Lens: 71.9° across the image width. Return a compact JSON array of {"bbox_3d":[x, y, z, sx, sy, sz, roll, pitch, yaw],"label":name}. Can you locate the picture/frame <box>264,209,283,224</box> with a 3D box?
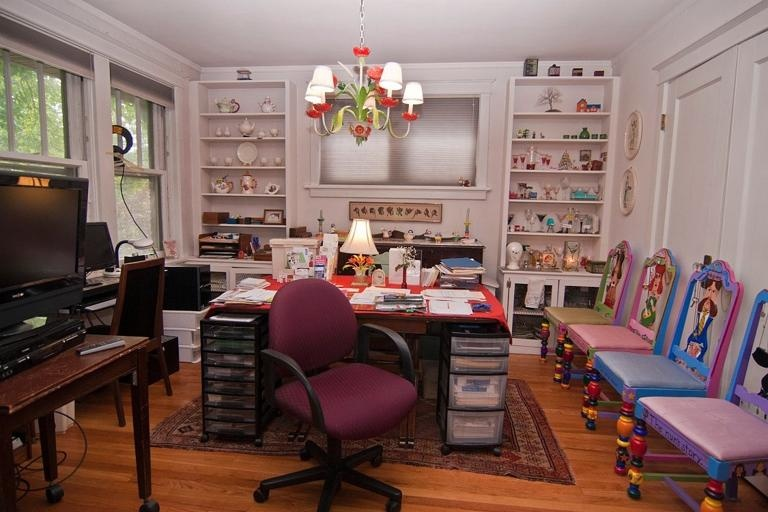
[{"bbox_3d":[-1.400,-0.493,6.704,0.204,0.164,0.021,1,-21,1],"label":"picture/frame"}]

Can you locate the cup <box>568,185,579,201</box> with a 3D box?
[{"bbox_3d":[2.227,-0.742,6.217,0.098,0.177,0.254,4,5,18],"label":"cup"}]

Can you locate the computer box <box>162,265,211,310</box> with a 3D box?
[{"bbox_3d":[-2.059,0.313,5.625,0.488,0.456,0.461,0,3,-7],"label":"computer box"}]

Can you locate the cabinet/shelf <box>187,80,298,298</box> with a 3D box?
[{"bbox_3d":[-1.909,-1.055,6.698,0.908,2.236,0.270,0,-26,-23],"label":"cabinet/shelf"}]

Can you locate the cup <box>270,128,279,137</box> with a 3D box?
[{"bbox_3d":[-1.357,-1.526,6.536,0.110,0.084,0.114,-1,5,0],"label":"cup"}]

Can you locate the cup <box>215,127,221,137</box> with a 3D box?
[{"bbox_3d":[-2.092,-1.564,6.676,0.075,0.134,0.238,0,5,-16],"label":"cup"}]

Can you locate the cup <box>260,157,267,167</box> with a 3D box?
[{"bbox_3d":[-1.505,-1.186,6.625,0.097,0.068,0.086,1,0,-23],"label":"cup"}]

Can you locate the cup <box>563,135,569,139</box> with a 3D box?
[{"bbox_3d":[2.147,-1.412,6.245,0.067,0.046,0.066,1,-2,0],"label":"cup"}]

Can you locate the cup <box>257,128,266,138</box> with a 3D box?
[{"bbox_3d":[-1.513,-1.516,6.569,0.071,0.068,0.190,0,4,-14],"label":"cup"}]

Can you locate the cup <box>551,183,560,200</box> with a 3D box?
[{"bbox_3d":[2.059,-0.770,6.345,0.153,0.197,0.163,-3,13,1],"label":"cup"}]

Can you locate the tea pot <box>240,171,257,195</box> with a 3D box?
[{"bbox_3d":[-1.720,-0.926,6.691,0.208,0.275,0.291,0,5,-13],"label":"tea pot"}]

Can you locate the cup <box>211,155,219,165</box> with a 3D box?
[{"bbox_3d":[-2.143,-1.234,6.736,0.092,0.082,0.104,17,18,41],"label":"cup"}]

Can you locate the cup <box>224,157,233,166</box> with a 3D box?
[{"bbox_3d":[-1.953,-1.197,6.703,0.103,0.111,0.104,5,24,-2],"label":"cup"}]

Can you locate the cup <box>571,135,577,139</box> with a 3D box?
[{"bbox_3d":[2.245,-1.401,6.223,0.061,0.036,0.060,1,-1,0],"label":"cup"}]

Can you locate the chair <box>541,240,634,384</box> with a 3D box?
[{"bbox_3d":[2.027,0.531,5.421,0.867,1.406,0.817,0,8,-25],"label":"chair"}]

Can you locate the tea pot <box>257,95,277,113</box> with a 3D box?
[{"bbox_3d":[-1.434,-1.879,6.585,0.302,0.228,0.163,4,2,-8],"label":"tea pot"}]

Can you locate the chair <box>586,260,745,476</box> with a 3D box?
[{"bbox_3d":[2.286,0.842,4.472,0.967,1.602,0.929,-2,9,-1],"label":"chair"}]

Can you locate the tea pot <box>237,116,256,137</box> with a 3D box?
[{"bbox_3d":[-1.683,-1.604,6.592,0.265,0.264,0.181,-2,16,-12],"label":"tea pot"}]

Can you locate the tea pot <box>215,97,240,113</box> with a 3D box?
[{"bbox_3d":[-1.981,-1.894,6.646,0.297,0.219,0.257,1,5,-7],"label":"tea pot"}]

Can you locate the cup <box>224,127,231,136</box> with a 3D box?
[{"bbox_3d":[-1.977,-1.567,6.675,0.073,0.136,0.211,0,5,-17],"label":"cup"}]

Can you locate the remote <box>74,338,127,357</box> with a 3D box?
[{"bbox_3d":[-1.934,0.618,3.619,0.234,0.054,0.117,-5,6,-25],"label":"remote"}]

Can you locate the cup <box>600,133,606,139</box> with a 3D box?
[{"bbox_3d":[2.531,-1.383,6.112,0.081,0.058,0.079,-1,4,0],"label":"cup"}]

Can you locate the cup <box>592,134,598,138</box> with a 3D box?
[{"bbox_3d":[2.445,-1.384,6.108,0.075,0.053,0.065,4,-2,-44],"label":"cup"}]

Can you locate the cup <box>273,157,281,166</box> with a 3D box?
[{"bbox_3d":[-1.327,-1.195,6.643,0.099,0.113,0.096,1,4,0],"label":"cup"}]

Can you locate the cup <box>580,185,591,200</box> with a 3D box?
[{"bbox_3d":[2.359,-0.735,6.192,0.103,0.150,0.230,4,5,19],"label":"cup"}]

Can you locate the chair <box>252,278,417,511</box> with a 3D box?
[{"bbox_3d":[-0.332,1.023,3.970,1.027,1.654,0.862,5,7,32],"label":"chair"}]

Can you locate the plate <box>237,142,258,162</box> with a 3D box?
[{"bbox_3d":[-1.766,-1.304,6.721,0.314,0.277,0.120,3,6,14],"label":"plate"}]

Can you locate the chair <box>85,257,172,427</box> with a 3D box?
[{"bbox_3d":[-2.338,0.647,4.675,0.887,1.186,0.846,-2,-5,5],"label":"chair"}]

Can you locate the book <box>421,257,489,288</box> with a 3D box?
[{"bbox_3d":[0.661,0.168,5.067,0.392,0.146,0.363,-1,13,-8],"label":"book"}]
